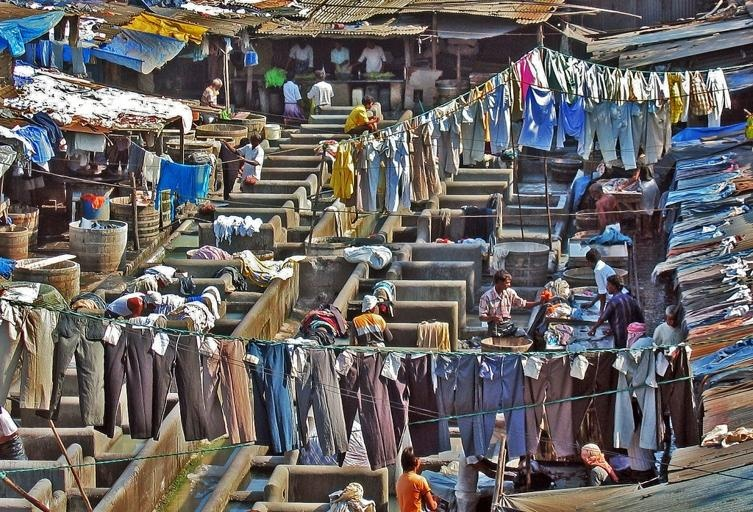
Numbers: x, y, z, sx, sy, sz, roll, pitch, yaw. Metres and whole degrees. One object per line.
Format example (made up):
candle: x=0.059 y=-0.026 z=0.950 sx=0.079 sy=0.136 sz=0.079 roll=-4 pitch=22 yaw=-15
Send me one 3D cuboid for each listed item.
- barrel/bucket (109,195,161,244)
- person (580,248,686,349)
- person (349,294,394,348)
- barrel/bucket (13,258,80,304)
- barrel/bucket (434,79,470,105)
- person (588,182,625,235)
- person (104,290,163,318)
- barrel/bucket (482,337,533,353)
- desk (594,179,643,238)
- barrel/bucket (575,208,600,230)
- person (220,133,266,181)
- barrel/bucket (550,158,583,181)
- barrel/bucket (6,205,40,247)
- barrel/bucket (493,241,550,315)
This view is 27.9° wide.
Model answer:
barrel/bucket: x=-5.616 y=-0.743 z=34.812 sx=1.034 sy=0.941 sz=1.106 roll=1 pitch=7 yaw=0
person: x=4.525 y=0.816 z=29.042 sx=0.916 sy=1.951 sz=1.566 roll=3 pitch=-7 yaw=-9
person: x=-0.104 y=1.257 z=29.438 sx=0.729 sy=1.048 sz=0.975 roll=-1 pitch=-8 yaw=21
barrel/bucket: x=-7.041 y=0.487 z=31.973 sx=1.044 sy=0.762 sz=1.066 roll=4 pitch=11 yaw=-1
barrel/bucket: x=1.960 y=-4.338 z=40.206 sx=1.143 sy=0.703 sz=1.034 roll=-7 pitch=16 yaw=6
person: x=5.228 y=-1.082 z=34.668 sx=0.689 sy=1.194 sz=1.129 roll=0 pitch=-7 yaw=9
person: x=-4.834 y=0.966 z=29.811 sx=0.896 sy=0.653 sz=1.688 roll=1 pitch=-7 yaw=2
barrel/bucket: x=2.464 y=1.668 z=28.797 sx=0.975 sy=0.339 sz=1.008 roll=1 pitch=-7 yaw=0
desk: x=5.552 y=-1.072 z=34.789 sx=1.045 sy=0.698 sz=1.588 roll=-1 pitch=13 yaw=5
barrel/bucket: x=4.944 y=-0.836 z=35.341 sx=0.463 sy=0.493 sz=0.465 roll=-2 pitch=17 yaw=1
person: x=-3.198 y=-2.339 z=36.785 sx=0.797 sy=1.279 sz=1.629 roll=0 pitch=-7 yaw=12
barrel/bucket: x=4.973 y=-2.215 z=40.106 sx=0.689 sy=0.455 sz=0.696 roll=1 pitch=6 yaw=0
barrel/bucket: x=-8.063 y=-0.642 z=34.581 sx=0.920 sy=0.852 sz=0.819 roll=-1 pitch=12 yaw=-12
barrel/bucket: x=3.257 y=0.437 z=33.296 sx=1.441 sy=1.403 sz=1.317 roll=1 pitch=3 yaw=0
